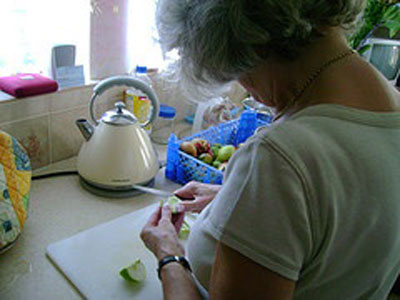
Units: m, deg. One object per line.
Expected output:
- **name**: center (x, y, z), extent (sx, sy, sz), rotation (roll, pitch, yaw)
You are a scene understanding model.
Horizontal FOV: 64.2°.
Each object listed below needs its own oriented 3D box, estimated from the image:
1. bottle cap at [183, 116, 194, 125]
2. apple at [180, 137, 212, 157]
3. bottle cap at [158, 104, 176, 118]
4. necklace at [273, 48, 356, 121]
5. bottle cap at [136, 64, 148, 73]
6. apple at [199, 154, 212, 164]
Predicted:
- **bottle cap**: center (-0.065, -0.174, 1.785), extent (0.043, 0.015, 0.046), rotation (19, 35, 28)
- **apple**: center (-0.016, -0.013, 1.314), extent (0.064, 0.054, 0.110), rotation (11, 5, 26)
- **bottle cap**: center (-0.150, -0.178, 1.436), extent (0.070, 0.020, 0.072), rotation (19, 23, 10)
- **necklace**: center (0.216, -0.121, 0.625), extent (0.132, 0.156, 0.066), rotation (13, 22, 25)
- **bottle cap**: center (-0.251, -0.358, 1.382), extent (0.044, 0.042, 0.045), rotation (-12, 25, -35)
- **apple**: center (0.022, 0.033, 1.309), extent (0.032, 0.035, 0.039), rotation (41, 4, 22)
